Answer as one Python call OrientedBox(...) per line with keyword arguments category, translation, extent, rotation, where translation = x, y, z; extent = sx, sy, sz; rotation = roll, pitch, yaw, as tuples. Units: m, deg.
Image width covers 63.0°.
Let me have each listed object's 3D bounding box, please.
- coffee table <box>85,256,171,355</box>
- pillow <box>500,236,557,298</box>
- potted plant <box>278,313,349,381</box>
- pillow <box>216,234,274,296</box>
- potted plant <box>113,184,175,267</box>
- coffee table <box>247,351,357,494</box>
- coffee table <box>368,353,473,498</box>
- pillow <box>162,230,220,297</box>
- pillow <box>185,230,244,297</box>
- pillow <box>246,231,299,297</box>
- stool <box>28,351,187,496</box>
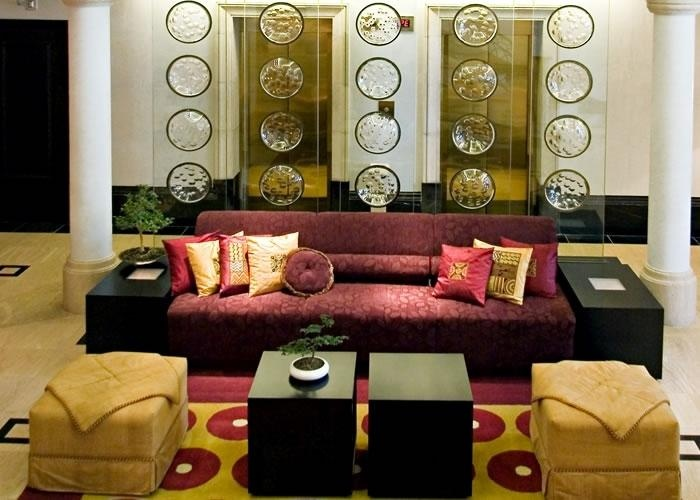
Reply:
OrientedBox(category="coffee table", translation=(-1.689, 0.269, 4.520), extent=(0.463, 0.623, 0.943), rotation=(2, 14, 2))
OrientedBox(category="pillow", translation=(1.364, 0.157, 4.418), extent=(0.400, 0.380, 0.162), rotation=(0, 11, 9))
OrientedBox(category="potted plant", translation=(-0.210, 0.592, 3.366), extent=(0.366, 0.390, 0.394), rotation=(-1, 12, -5))
OrientedBox(category="pillow", translation=(-0.838, 0.121, 4.344), extent=(0.403, 0.397, 0.116), rotation=(-3, -2, -40))
OrientedBox(category="potted plant", translation=(-1.813, -0.197, 4.919), extent=(0.456, 0.652, 0.461), rotation=(16, 12, 18))
OrientedBox(category="coffee table", translation=(-0.255, 0.875, 3.166), extent=(0.591, 0.606, 0.608), rotation=(0, 14, 1))
OrientedBox(category="coffee table", translation=(0.364, 0.901, 3.130), extent=(0.506, 0.508, 0.810), rotation=(0, 20, 5))
OrientedBox(category="pillow", translation=(-1.291, 0.126, 4.438), extent=(0.445, 0.470, 0.149), rotation=(-12, -4, -37))
OrientedBox(category="pillow", translation=(-1.046, 0.132, 4.566), extent=(0.440, 0.458, 0.137), rotation=(-6, -11, -5))
OrientedBox(category="pillow", translation=(-0.626, 0.140, 4.465), extent=(0.412, 0.421, 0.148), rotation=(1, -10, -27))
OrientedBox(category="stool", translation=(-1.316, 0.919, 3.103), extent=(0.588, 0.390, 0.786), rotation=(2, 15, 0))
